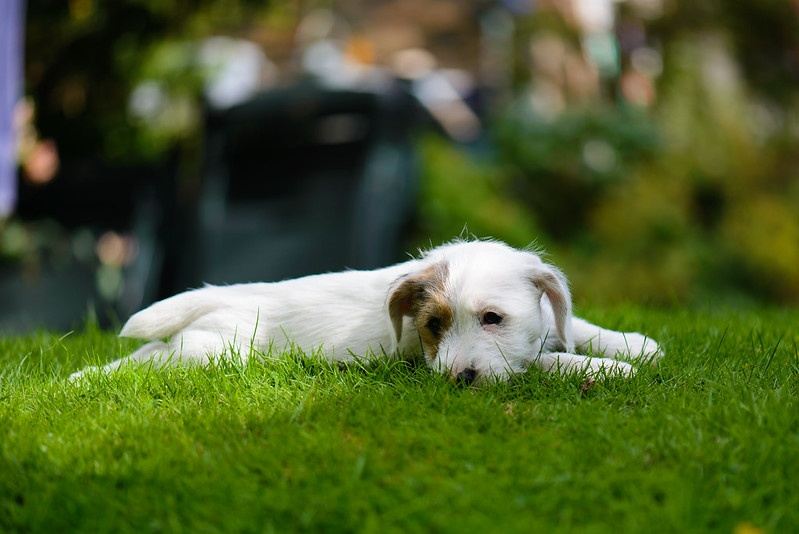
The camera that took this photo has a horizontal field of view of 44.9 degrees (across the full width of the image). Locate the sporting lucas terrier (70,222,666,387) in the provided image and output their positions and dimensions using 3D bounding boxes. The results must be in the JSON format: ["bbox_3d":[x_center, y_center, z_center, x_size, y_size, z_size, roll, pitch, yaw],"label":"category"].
[{"bbox_3d":[-0.305,0.335,6.396,2.771,0.793,1.539,2,7,8],"label":"sporting lucas terrier"}]
